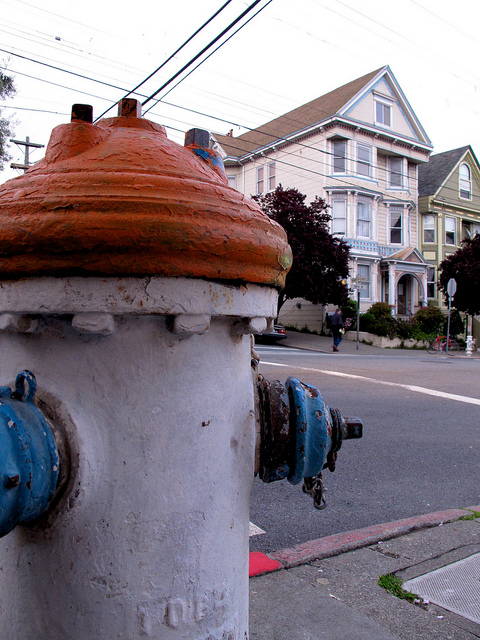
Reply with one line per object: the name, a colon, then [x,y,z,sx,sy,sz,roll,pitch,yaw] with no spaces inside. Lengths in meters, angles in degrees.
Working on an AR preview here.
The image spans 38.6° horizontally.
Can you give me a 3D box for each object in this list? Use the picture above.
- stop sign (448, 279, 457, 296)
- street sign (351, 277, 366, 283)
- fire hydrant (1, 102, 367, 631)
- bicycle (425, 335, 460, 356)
stop sign: [5.987,-0.902,19.069,0.100,0.440,0.365,0,3,-7]
street sign: [4.058,-1.380,23.573,0.552,0.140,0.529,0,-2,25]
fire hydrant: [-0.166,0.094,1.463,0.783,1.116,0.386,-3,1,-39]
bicycle: [5.942,0.801,20.121,0.997,0.626,0.511,-4,-3,31]
